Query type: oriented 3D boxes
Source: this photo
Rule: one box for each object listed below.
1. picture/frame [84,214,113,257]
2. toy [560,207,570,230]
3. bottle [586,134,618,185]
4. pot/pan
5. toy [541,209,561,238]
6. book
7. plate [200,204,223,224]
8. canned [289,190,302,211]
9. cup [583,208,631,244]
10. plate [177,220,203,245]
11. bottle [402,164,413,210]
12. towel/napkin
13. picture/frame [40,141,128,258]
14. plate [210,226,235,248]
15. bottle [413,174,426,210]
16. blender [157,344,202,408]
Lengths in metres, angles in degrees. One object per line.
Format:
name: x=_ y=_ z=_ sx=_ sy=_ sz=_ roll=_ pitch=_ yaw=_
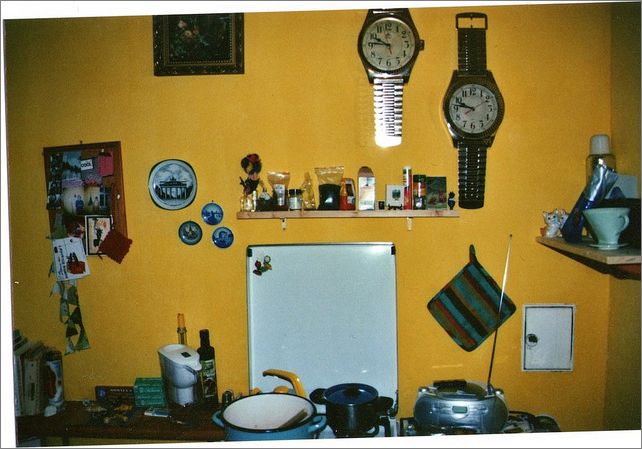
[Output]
picture/frame: x=-1.444 y=0.072 z=5.041 sx=0.235 sy=0.372 sz=0.013 roll=2 pitch=6 yaw=0
toy: x=1.518 y=-0.041 z=4.821 sx=0.079 sy=0.132 sz=0.096 roll=4 pitch=-34 yaw=15
bottle: x=1.770 y=-0.433 z=4.861 sx=0.179 sy=0.291 sz=0.160 roll=1 pitch=0 yaw=9
pot/pan: x=-0.309 y=1.134 z=4.549 sx=0.677 sy=0.277 sz=0.446 roll=2 pitch=0 yaw=-2
toy: x=1.438 y=-0.013 z=4.846 sx=0.111 sy=0.204 sz=0.150 roll=1 pitch=-10 yaw=5
book: x=-1.776 y=0.958 z=4.924 sx=0.127 sy=0.467 sz=0.320 roll=0 pitch=3 yaw=0
plate: x=-0.706 y=-0.071 z=5.005 sx=0.119 sy=0.133 sz=0.030 roll=2 pitch=0 yaw=4
canned: x=-0.163 y=-0.163 z=4.861 sx=0.085 sy=0.134 sz=0.056 roll=1 pitch=0 yaw=-3
cup: x=1.632 y=-0.005 z=4.408 sx=0.222 sy=0.187 sz=0.210 roll=-1 pitch=-4 yaw=0
plate: x=-0.856 y=0.041 z=4.963 sx=0.135 sy=0.150 sz=0.033 roll=-2 pitch=1 yaw=3
bottle: x=0.568 y=-0.238 z=4.916 sx=0.061 sy=0.272 sz=0.096 roll=1 pitch=0 yaw=45
towel/napkin: x=0.970 y=0.509 z=5.109 sx=0.628 sy=0.601 sz=0.149 roll=46 pitch=2 yaw=1
picture/frame: x=-1.517 y=-0.184 z=5.039 sx=0.615 sy=0.988 sz=0.079 roll=-4 pitch=1 yaw=2
plate: x=-0.631 y=0.072 z=5.006 sx=0.117 sy=0.131 sz=0.017 roll=-4 pitch=5 yaw=-1
bottle: x=0.625 y=-0.210 z=4.892 sx=0.083 sy=0.220 sz=0.047 roll=1 pitch=0 yaw=-6
blender: x=-0.893 y=0.949 z=4.883 sx=0.273 sy=0.397 sz=0.155 roll=1 pitch=0 yaw=23
